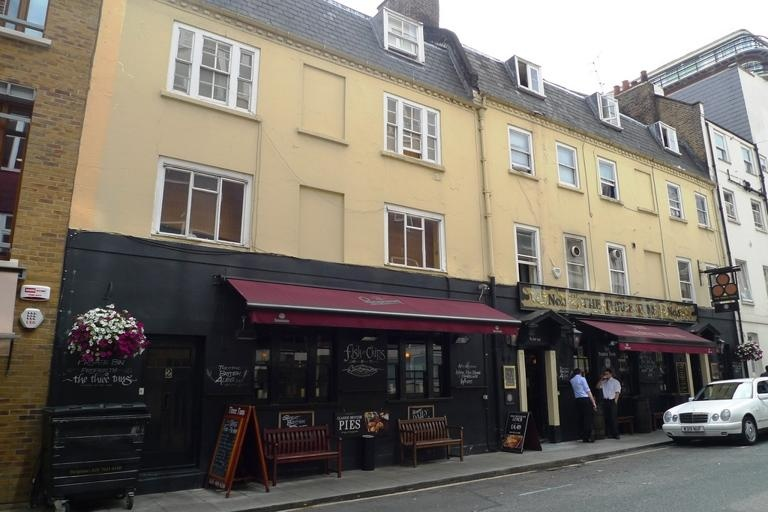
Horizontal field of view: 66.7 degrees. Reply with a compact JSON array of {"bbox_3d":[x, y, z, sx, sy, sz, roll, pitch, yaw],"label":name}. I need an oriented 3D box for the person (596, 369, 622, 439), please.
[{"bbox_3d":[7.893,5.142,20.427,0.771,2.314,0.594,-5,-15,12],"label":"person"}]

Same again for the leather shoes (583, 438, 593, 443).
[{"bbox_3d":[6.734,6.099,19.386,0.288,0.137,0.354,-6,-15,18],"label":"leather shoes"}]

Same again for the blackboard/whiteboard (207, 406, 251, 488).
[{"bbox_3d":[-3.731,4.607,14.056,1.275,1.993,0.489,-14,-19,39],"label":"blackboard/whiteboard"}]

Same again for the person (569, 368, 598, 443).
[{"bbox_3d":[6.701,5.028,19.766,0.702,2.397,0.841,-6,-15,16],"label":"person"}]

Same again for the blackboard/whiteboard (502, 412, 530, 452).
[{"bbox_3d":[3.992,5.387,18.149,0.814,1.097,0.719,11,6,-6],"label":"blackboard/whiteboard"}]

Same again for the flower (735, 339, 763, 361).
[{"bbox_3d":[16.044,4.171,25.884,0.942,0.807,0.746,5,-16,-26],"label":"flower"}]

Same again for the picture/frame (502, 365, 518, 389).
[{"bbox_3d":[4.003,3.916,18.875,0.724,0.982,0.096,8,-14,-31],"label":"picture/frame"}]

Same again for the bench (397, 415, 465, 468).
[{"bbox_3d":[1.293,5.194,16.487,1.845,1.210,0.762,8,-16,-35],"label":"bench"}]

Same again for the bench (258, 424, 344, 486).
[{"bbox_3d":[-2.063,4.968,14.652,1.950,1.236,0.654,8,-13,-37],"label":"bench"}]
